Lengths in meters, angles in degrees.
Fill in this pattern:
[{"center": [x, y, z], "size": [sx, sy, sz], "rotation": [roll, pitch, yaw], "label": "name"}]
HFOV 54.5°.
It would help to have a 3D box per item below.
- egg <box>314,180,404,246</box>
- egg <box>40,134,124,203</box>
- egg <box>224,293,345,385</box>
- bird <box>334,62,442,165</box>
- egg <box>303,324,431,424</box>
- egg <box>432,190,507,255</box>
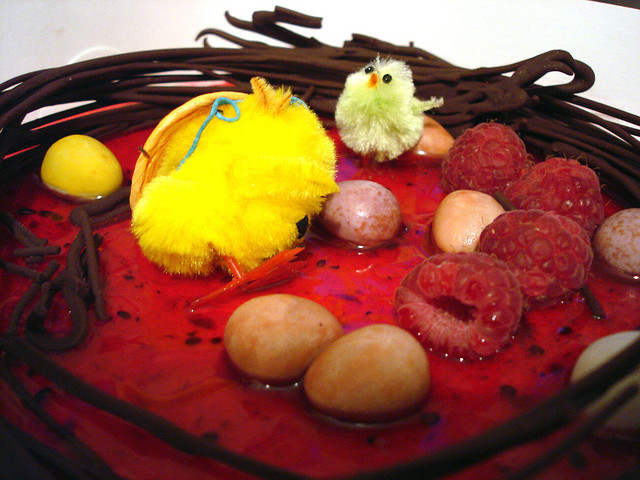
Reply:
[{"center": [0.079, -0.051, 1.104], "size": [0.139, 0.084, 0.117], "rotation": [23, 43, 21], "label": "egg"}, {"center": [-0.441, -0.134, 1.160], "size": [0.128, 0.097, 0.114], "rotation": [-22, 48, -28], "label": "egg"}, {"center": [-0.058, 0.135, 0.921], "size": [0.176, 0.100, 0.172], "rotation": [4, 38, -14], "label": "egg"}, {"center": [0.162, -0.277, 1.264], "size": [0.222, 0.170, 0.200], "rotation": [6, 54, 16], "label": "bird"}, {"center": [0.061, 0.177, 0.821], "size": [0.162, 0.063, 0.130], "rotation": [-3, 39, -10], "label": "egg"}, {"center": [0.245, -0.042, 1.132], "size": [0.172, 0.088, 0.148], "rotation": [-9, 18, -30], "label": "egg"}]
